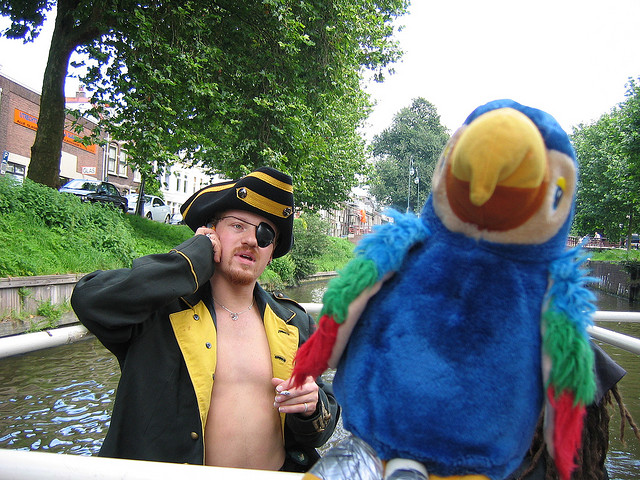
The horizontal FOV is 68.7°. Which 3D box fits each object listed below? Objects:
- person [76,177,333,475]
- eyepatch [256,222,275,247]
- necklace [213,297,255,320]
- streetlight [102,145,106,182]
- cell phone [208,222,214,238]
[{"bbox_3d":[-0.484,0.395,2.136,1.078,1.450,0.634,1,2,-31],"label":"person"},{"bbox_3d":[-0.267,-0.026,2.325,0.050,0.123,0.115,3,2,33],"label":"eyepatch"},{"bbox_3d":[-0.431,0.352,2.378,0.205,0.089,0.104,2,2,-21],"label":"necklace"},{"bbox_3d":[-12.958,-4.617,28.006,0.098,1.802,0.557,1,2,-23],"label":"streetlight"},{"bbox_3d":[-0.545,-0.054,2.317,0.028,0.041,0.094,32,-12,-3],"label":"cell phone"}]
